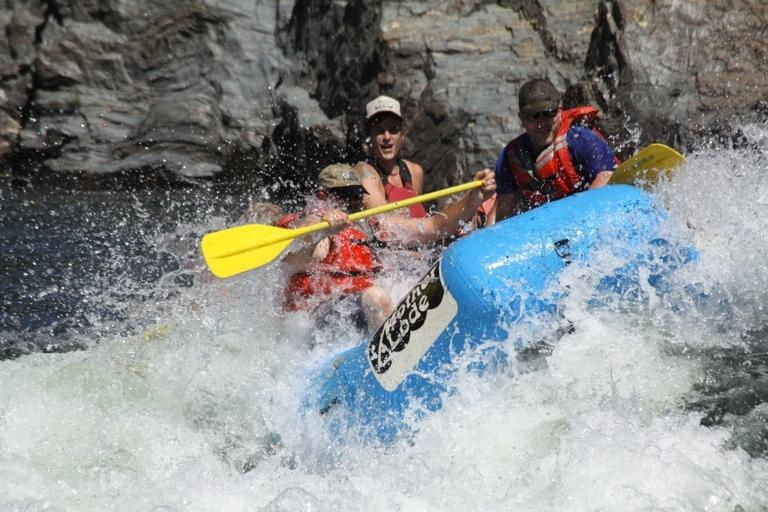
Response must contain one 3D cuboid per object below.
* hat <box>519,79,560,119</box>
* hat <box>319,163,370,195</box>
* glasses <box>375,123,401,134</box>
[{"bbox_3d":[1.449,-1.471,8.650,0.372,0.254,0.319,-8,79,-1],"label":"hat"},{"bbox_3d":[-0.401,-0.696,8.509,0.338,0.248,0.152,-7,87,33],"label":"hat"},{"bbox_3d":[0.044,-1.271,9.415,0.256,0.074,0.102,-7,79,-1],"label":"glasses"}]
